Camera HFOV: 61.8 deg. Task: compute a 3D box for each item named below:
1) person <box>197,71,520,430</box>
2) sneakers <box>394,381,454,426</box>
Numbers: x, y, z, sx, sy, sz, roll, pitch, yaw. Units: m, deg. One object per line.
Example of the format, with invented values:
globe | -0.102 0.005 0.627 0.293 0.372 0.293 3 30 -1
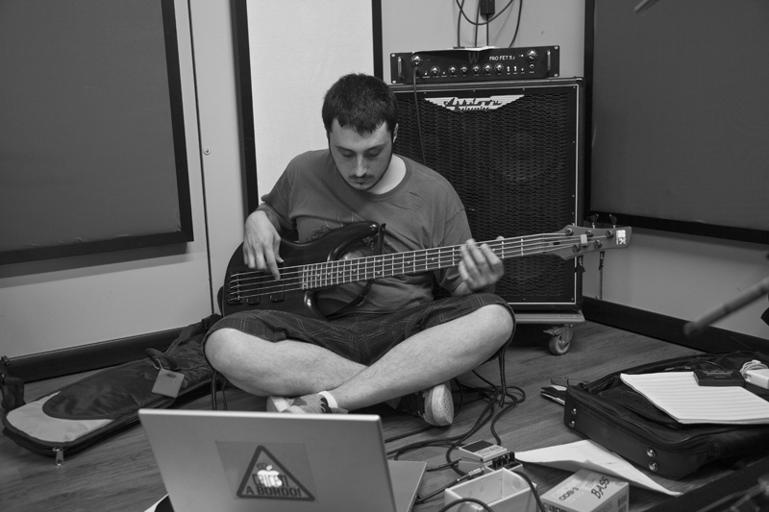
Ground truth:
person | -0.080 -0.017 2.363 1.073 1.268 0.790 -1 14 12
sneakers | 0.153 0.538 2.354 0.120 0.102 0.312 -3 -10 -14
